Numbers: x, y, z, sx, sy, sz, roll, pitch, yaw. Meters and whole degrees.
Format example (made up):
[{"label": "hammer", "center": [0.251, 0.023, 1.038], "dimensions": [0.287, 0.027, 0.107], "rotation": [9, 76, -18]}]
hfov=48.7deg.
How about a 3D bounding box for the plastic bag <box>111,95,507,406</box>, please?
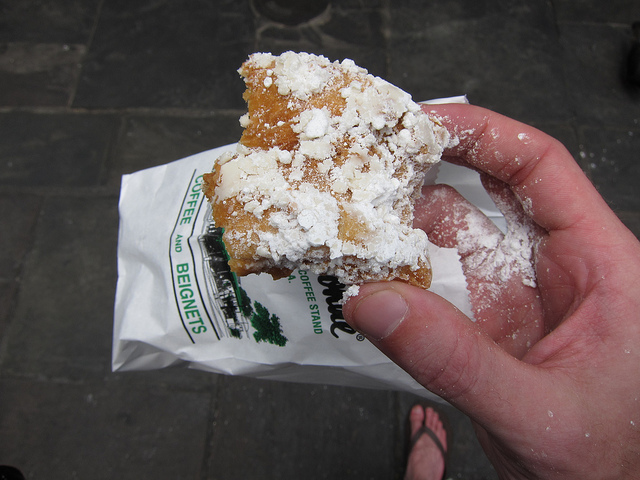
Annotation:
[{"label": "plastic bag", "center": [-0.137, 0.270, 3.032], "dimensions": [1.474, 0.437, 1.389], "rotation": [3, 92, -6]}]
